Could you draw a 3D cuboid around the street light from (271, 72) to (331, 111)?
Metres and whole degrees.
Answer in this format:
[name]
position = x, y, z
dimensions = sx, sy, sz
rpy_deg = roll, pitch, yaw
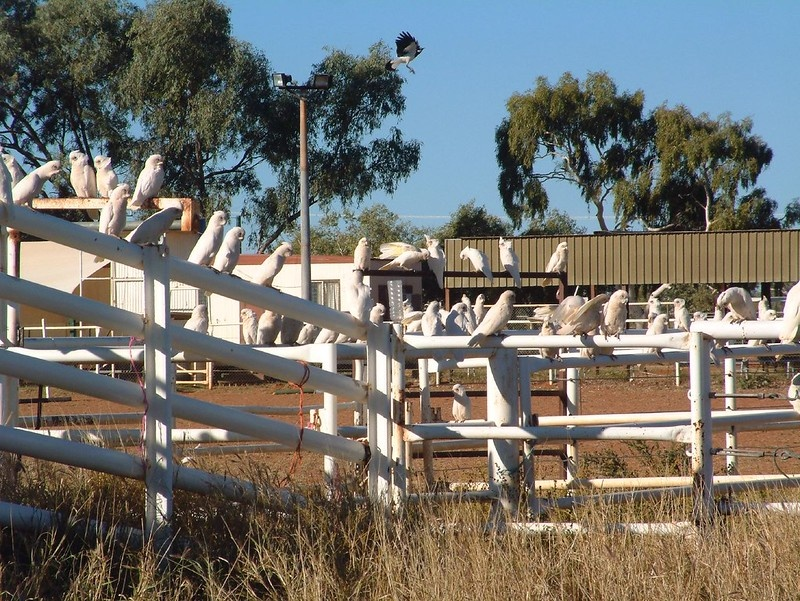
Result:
[street light]
position = -2.689, -5.596, 51.986
dimensions = 1.539, 0.855, 0.913
rpy_deg = -1, -10, 10
